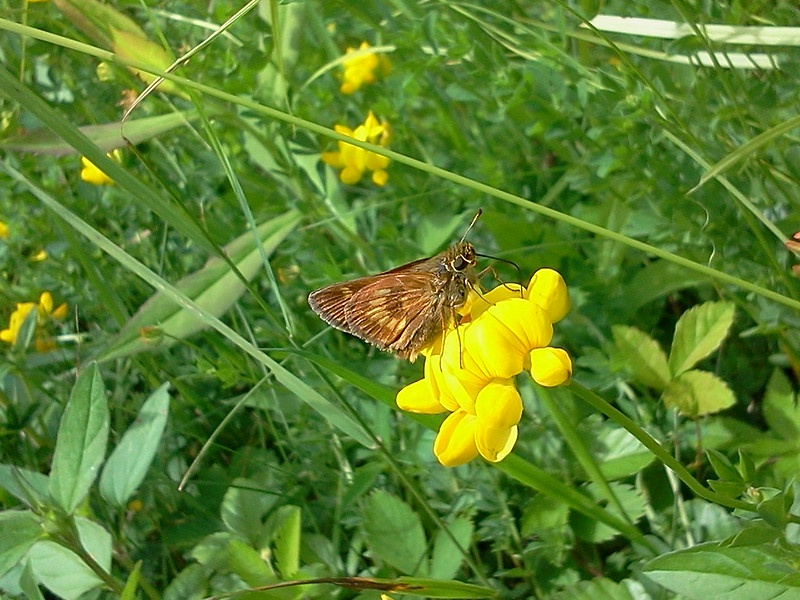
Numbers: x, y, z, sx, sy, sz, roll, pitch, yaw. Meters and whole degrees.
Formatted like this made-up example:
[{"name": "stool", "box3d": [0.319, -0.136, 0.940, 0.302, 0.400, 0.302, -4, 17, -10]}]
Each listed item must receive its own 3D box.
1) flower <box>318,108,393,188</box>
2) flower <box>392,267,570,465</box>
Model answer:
[{"name": "flower", "box3d": [-0.159, -0.563, 2.875, 0.145, 0.312, 0.299, 14, 3, -13]}, {"name": "flower", "box3d": [0.242, 0.136, 1.918, 0.195, 0.550, 0.505, 32, 81, 6]}]
